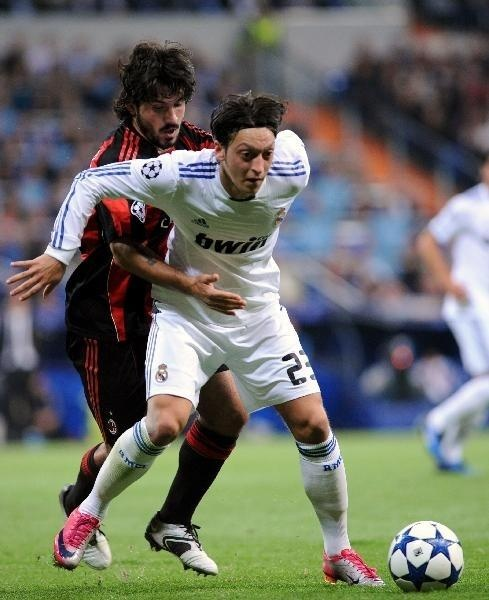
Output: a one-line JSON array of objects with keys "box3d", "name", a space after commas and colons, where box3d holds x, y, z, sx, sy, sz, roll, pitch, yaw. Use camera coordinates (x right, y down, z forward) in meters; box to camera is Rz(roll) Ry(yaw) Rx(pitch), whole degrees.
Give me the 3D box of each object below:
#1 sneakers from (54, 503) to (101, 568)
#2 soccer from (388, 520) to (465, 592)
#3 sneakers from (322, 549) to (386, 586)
[{"box3d": [-0.626, 0.912, 3.175, 0.100, 0.139, 0.280, 49, 18, -21], "name": "sneakers"}, {"box3d": [0.599, 0.912, 2.901, 0.265, 0.220, 0.222, 21, -19, 4], "name": "soccer"}, {"box3d": [0.401, 1.024, 3.054, 0.290, 0.109, 0.094, 0, 2, 35], "name": "sneakers"}]
